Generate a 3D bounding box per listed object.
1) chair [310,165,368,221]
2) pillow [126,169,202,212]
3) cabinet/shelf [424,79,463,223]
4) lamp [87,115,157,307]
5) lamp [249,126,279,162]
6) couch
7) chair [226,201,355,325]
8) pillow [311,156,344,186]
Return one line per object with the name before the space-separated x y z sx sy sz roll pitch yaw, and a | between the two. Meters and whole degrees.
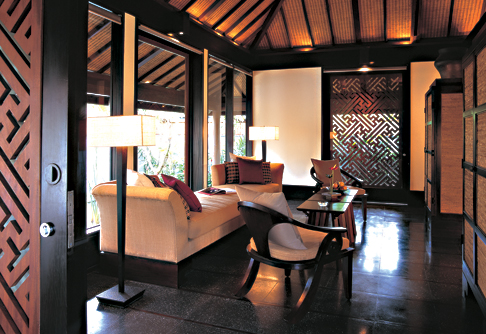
chair | 1.561 0.374 6.065 0.864 1.088 0.935 -2 -1 15
pillow | -0.873 0.326 3.927 0.586 0.181 0.506 26 -9 -14
cabinet/shelf | 2.839 -0.272 5.272 0.394 1.956 0.818 0 9 1
lamp | -1.143 0.388 3.421 0.560 1.711 0.615 1 -1 -11
lamp | 0.427 -0.410 7.463 0.538 0.864 0.524 -1 10 -4
couch | -0.437 0.500 5.274 1.014 1.076 3.529 1 6 23
chair | 0.498 0.749 3.440 1.046 0.949 1.109 2 6 22
pillow | 1.318 0.113 5.724 0.470 0.378 1.010 2 10 10
